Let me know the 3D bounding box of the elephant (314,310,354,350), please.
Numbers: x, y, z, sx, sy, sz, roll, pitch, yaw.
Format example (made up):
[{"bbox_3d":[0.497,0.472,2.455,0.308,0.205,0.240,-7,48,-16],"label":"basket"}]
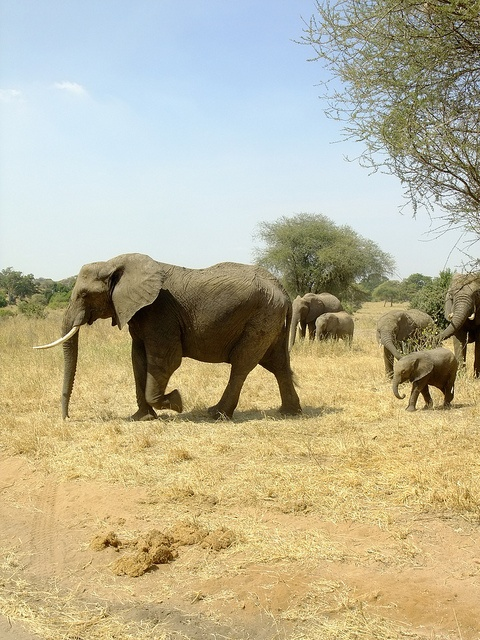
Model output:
[{"bbox_3d":[2.775,0.226,17.873,0.604,0.879,1.877,1,7,37],"label":"elephant"}]

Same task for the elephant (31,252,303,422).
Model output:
[{"bbox_3d":[-0.719,0.228,7.567,2.857,2.203,1.057,-4,6,1],"label":"elephant"}]

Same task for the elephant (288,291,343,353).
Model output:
[{"bbox_3d":[2.505,-0.044,19.675,2.920,1.537,0.991,-8,6,-45],"label":"elephant"}]
